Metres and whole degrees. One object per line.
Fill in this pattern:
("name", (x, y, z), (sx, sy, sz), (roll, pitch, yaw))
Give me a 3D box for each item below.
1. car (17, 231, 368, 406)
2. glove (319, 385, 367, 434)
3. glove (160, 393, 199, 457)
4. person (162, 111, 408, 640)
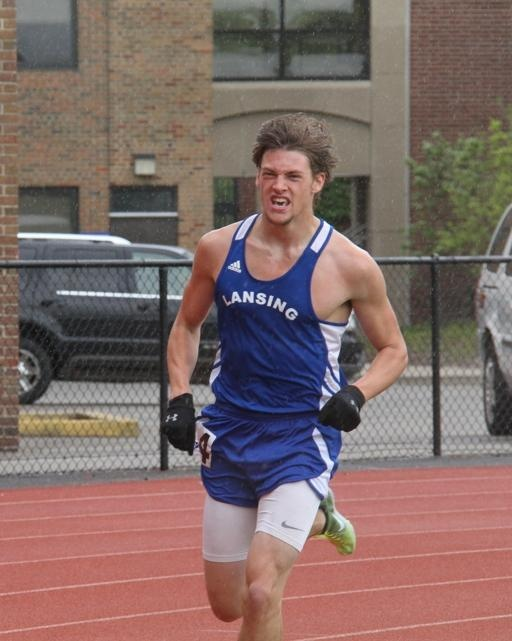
("car", (-0.660, -0.048, 10.527), (2.692, 1.526, 1.476), (-1, 0, -1))
("glove", (0.331, 0.353, 4.920), (0.167, 0.181, 0.180), (1, 6, 7))
("glove", (-0.301, 0.431, 5.111), (0.133, 0.230, 0.094), (2, -14, 2))
("person", (0.112, 0.218, 5.013), (0.951, 2.045, 0.812), (0, 5, -6))
